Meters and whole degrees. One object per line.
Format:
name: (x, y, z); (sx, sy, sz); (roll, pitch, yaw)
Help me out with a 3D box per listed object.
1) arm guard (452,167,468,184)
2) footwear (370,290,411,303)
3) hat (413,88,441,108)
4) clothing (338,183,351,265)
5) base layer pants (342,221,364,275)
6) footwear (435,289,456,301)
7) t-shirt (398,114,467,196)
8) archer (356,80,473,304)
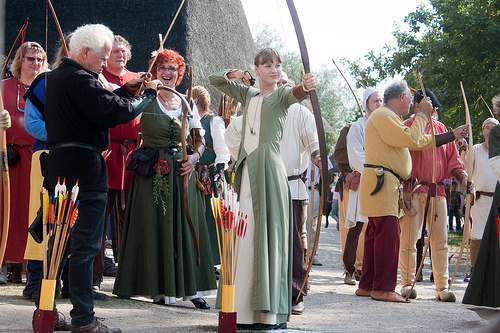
arm guard: (2.898, 0.106, 8.714); (0.104, 0.085, 0.312); (-29, 41, 5)
footwear: (1.770, 1.644, 8.016); (0.488, 0.205, 0.159); (-4, -12, 20)
hat: (2.286, -0.896, 8.167); (0.329, 0.197, 0.217); (7, 22, 19)
clothing: (1.504, 0.881, 9.858); (0.280, 1.181, 0.242); (5, -15, -18)
base layer pants: (1.449, 1.200, 9.177); (0.189, 0.653, 0.168); (-14, 23, -24)
footwear: (2.531, 1.664, 8.142); (0.117, 0.105, 0.263); (1, -8, -13)
t-shirt: (2.418, -0.158, 8.600); (1.019, 1.260, 0.639); (-3, 27, 8)
archer: (2.119, 0.302, 8.319); (1.450, 2.797, 1.044); (3, -3, 3)
